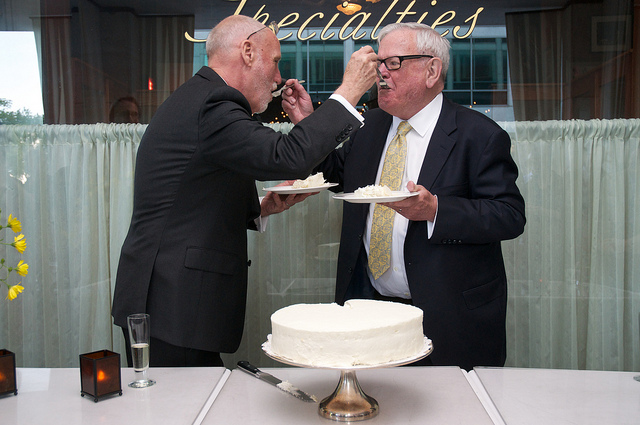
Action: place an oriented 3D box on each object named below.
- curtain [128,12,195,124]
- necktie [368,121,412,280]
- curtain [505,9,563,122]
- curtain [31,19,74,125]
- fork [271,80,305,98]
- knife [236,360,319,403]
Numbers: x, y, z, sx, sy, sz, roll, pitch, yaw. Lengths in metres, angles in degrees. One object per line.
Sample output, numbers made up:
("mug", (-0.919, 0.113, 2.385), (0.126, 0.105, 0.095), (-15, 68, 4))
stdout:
("curtain", (-1.165, -1.047, 3.839), (0.506, 0.787, 0.110), (0, 2, 14))
("necktie", (0.441, -0.084, 3.251), (0.273, 0.960, 0.158), (-2, 3, -43))
("curtain", (1.550, -1.043, 3.794), (0.403, 0.765, 0.062), (-1, 2, -1))
("curtain", (-2.004, -1.002, 3.992), (0.257, 0.933, 0.062), (-3, 5, -17))
("fork", (-0.203, -0.759, 3.233), (0.208, 0.075, 0.035), (-30, -7, -15))
("knife", (-0.189, 0.774, 2.401), (0.087, 0.031, 0.582), (-10, 19, -37))
